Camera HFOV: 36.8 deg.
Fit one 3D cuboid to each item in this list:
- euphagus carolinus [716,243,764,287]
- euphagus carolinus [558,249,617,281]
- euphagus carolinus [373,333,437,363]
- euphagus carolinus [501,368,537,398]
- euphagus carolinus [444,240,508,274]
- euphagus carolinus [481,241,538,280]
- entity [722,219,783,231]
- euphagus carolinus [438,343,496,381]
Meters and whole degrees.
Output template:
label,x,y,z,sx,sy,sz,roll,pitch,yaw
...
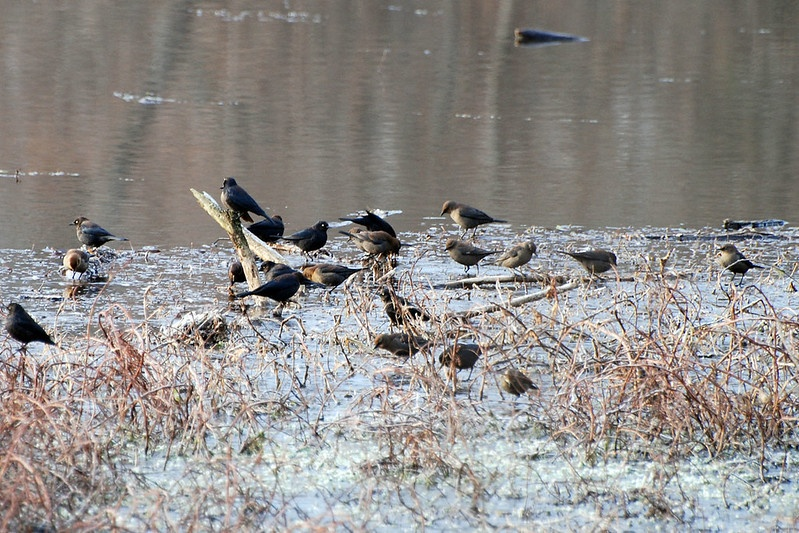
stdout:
label,x,y,z,sx,sy,sz,roll,pitch,yaw
euphagus carolinus,5.917,-0.062,21.080,1.088,0.647,0.415,1,-2,-33
euphagus carolinus,3.401,-0.118,21.017,1.250,0.418,0.390,13,-24,0
euphagus carolinus,0.176,1.139,17.080,1.079,0.367,0.312,7,8,-13
euphagus carolinus,1.542,1.587,16.327,0.535,0.327,0.287,12,-31,-20
euphagus carolinus,1.391,-0.256,21.766,1.379,0.639,0.372,-9,25,-2
euphagus carolinus,2.057,-0.199,21.287,0.892,0.563,0.410,13,10,41
entity,7.207,-0.863,24.778,1.446,0.202,0.549,-4,9,-34
euphagus carolinus,0.885,1.315,16.748,0.409,0.362,0.909,-17,7,17
